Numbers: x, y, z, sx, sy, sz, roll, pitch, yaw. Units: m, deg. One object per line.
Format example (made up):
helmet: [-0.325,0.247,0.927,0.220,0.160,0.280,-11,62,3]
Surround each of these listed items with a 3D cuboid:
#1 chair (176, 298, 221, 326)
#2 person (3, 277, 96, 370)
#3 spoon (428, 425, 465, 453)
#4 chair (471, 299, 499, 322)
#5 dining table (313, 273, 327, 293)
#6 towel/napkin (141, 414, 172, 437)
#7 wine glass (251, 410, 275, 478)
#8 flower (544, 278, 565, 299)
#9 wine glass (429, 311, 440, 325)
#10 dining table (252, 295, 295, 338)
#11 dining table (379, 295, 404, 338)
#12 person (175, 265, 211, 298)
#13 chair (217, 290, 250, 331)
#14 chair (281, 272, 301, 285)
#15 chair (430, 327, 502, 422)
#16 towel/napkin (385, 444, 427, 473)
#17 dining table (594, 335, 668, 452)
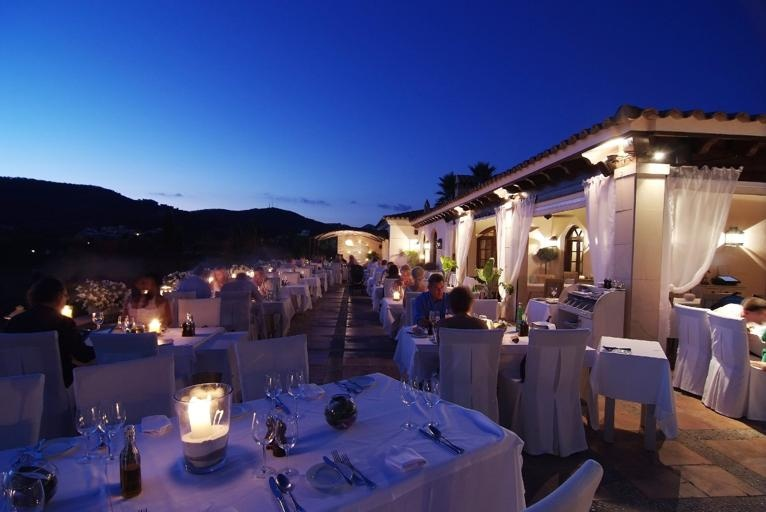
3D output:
chair: [-3.600,1.081,9.796,0.521,0.806,0.626,2,2,-12]
person: [-5.419,1.137,8.195,1.131,1.176,0.633,6,13,-3]
spoon: [0.754,2.265,6.183,0.164,0.171,0.665,-13,26,-24]
chair: [2.146,1.085,10.420,0.514,0.739,0.587,2,1,2]
dining table: [-2.545,1.106,20.564,0.618,0.618,0.792,-2,10,-6]
towel/napkin: [-2.855,2.126,6.272,0.237,0.074,0.239,7,8,-37]
wine glass: [-1.432,2.243,6.004,0.238,0.711,0.309,-1,1,-9]
flower: [5.140,0.962,15.078,0.596,0.706,0.618,0,0,-7]
wine glass: [0.905,1.091,8.836,0.175,0.305,0.178,-1,3,2]
dining table: [-2.722,1.500,12.215,0.869,0.703,0.882,1,-1,-24]
dining table: [0.232,1.444,12.102,0.716,0.654,0.889,3,6,11]
person: [-4.583,0.624,12.094,0.528,1.320,0.423,3,-13,-11]
chair: [-3.161,1.187,10.658,0.664,0.948,0.750,2,1,-12]
chair: [-2.993,0.717,16.163,0.414,0.338,0.421,1,4,-6]
chair: [1.352,1.805,8.294,1.267,2.084,1.269,1,3,5]
towel/napkin: [0.248,2.422,5.963,0.281,0.104,0.294,-4,10,-30]
dining table: [4.154,2.290,8.621,1.352,1.498,1.535,0,1,17]
